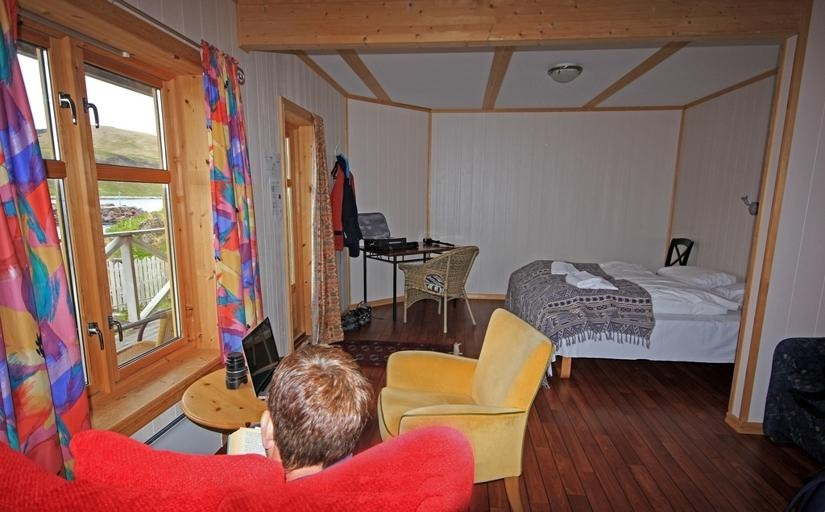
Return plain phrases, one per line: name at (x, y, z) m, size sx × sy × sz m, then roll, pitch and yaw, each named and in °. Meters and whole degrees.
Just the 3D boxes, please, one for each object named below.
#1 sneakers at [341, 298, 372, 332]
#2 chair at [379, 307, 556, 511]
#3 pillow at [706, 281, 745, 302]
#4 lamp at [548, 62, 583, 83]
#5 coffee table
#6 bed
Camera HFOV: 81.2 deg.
sneakers at (-0.688, 0.770, 6.115) m, size 0.365 × 0.162 × 0.254 m, roll -12°, pitch 27°, yaw -40°
chair at (0.405, 1.049, 4.079) m, size 1.515 × 1.610 × 1.295 m, roll 2°, pitch 9°, yaw -13°
pillow at (3.197, 0.360, 4.885) m, size 0.229 × 0.065 × 0.226 m, roll -9°, pitch 14°, yaw 25°
lamp at (1.660, -2.027, 5.315) m, size 0.355 × 0.159 × 0.264 m, roll 8°, pitch 10°, yaw 22°
coffee table at (-1.262, 0.986, 3.235) m, size 0.460 × 0.158 × 0.452 m, roll -9°, pitch 34°, yaw -41°
bed at (2.087, 0.576, 4.808) m, size 1.455 × 0.601 × 1.425 m, roll 4°, pitch 11°, yaw 15°
